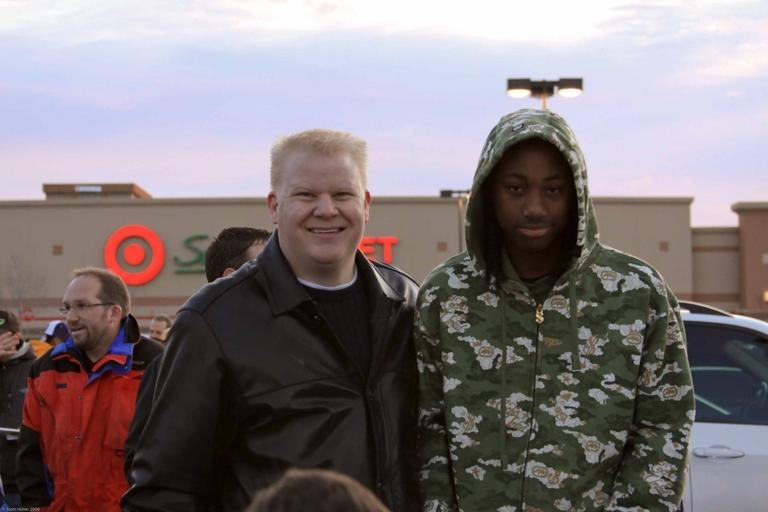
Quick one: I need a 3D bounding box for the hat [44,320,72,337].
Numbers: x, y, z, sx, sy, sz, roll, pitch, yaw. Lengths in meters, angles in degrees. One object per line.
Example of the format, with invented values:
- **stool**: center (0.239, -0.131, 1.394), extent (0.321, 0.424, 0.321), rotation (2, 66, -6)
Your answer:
- **hat**: center (-4.231, 1.002, 17.692), extent (0.357, 0.246, 0.461), rotation (5, 3, -15)
